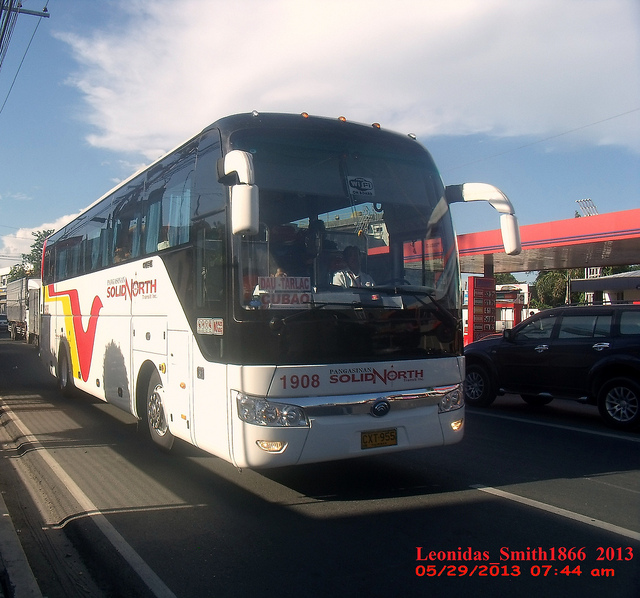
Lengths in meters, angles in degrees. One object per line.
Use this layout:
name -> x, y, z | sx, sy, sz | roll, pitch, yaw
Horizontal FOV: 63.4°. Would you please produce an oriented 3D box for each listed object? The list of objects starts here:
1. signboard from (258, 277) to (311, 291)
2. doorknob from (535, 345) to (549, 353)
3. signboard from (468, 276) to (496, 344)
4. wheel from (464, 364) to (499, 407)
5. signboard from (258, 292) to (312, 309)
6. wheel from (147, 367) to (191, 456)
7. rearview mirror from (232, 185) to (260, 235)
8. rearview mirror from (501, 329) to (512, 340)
signboard -> -0.317, -0.134, 4.620 | 0.480, 0.127, 0.057 | 1, -3, -19
doorknob -> 4.139, 0.921, 9.611 | 0.130, 0.074, 0.193 | 1, -3, -13
signboard -> 6.195, 0.375, 19.281 | 0.856, 2.457, 0.250 | 4, 18, 27
wheel -> 3.251, 1.777, 10.654 | 0.248, 0.798, 0.743 | 7, -2, -28
signboard -> -0.309, 0.011, 4.597 | 0.470, 0.146, 0.082 | 1, -3, -9
wheel -> -1.942, 1.412, 6.642 | 0.353, 1.099, 1.009 | -1, -7, -35
rearview mirror -> -0.615, -0.708, 4.194 | 0.212, 0.408, 0.220 | 0, -5, -19
rearview mirror -> 3.709, 0.708, 10.258 | 0.149, 0.124, 0.222 | 8, 34, 15
